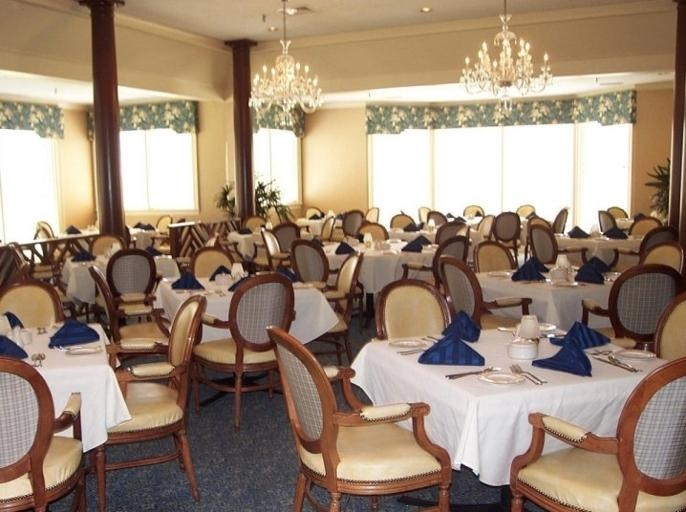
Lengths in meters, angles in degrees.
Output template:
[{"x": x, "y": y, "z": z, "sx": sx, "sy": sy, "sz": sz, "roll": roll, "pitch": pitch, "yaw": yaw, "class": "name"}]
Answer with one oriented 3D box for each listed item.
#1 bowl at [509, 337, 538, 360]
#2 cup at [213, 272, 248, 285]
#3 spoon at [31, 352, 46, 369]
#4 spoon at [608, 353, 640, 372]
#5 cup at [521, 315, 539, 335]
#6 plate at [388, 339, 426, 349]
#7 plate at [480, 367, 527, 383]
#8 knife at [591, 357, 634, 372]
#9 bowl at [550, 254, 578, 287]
[{"x": 1.017, "y": 0.504, "z": 3.128, "sx": 0.108, "sy": 0.082, "sz": 0.115, "roll": 1, "pitch": -1, "yaw": 0, "class": "bowl"}, {"x": -1.088, "y": 0.214, "z": 5.243, "sx": 0.209, "sy": 0.103, "sz": 0.130, "roll": 0, "pitch": 4, "yaw": 0, "class": "cup"}, {"x": -1.744, "y": 0.586, "z": 3.176, "sx": 0.064, "sy": 0.048, "sz": 0.095, "roll": 1, "pitch": 17, "yaw": -19, "class": "spoon"}, {"x": 1.500, "y": 0.560, "z": 2.987, "sx": 0.037, "sy": 0.034, "sz": 0.193, "roll": 15, "pitch": 5, "yaw": -9, "class": "spoon"}, {"x": 1.068, "y": 0.393, "z": 3.232, "sx": 0.100, "sy": 0.110, "sz": 0.103, "roll": -1, "pitch": 3, "yaw": 0, "class": "cup"}, {"x": 0.394, "y": 0.523, "z": 3.402, "sx": 0.229, "sy": 0.018, "sz": 0.180, "roll": -1, "pitch": 8, "yaw": 9, "class": "plate"}, {"x": 0.816, "y": 0.607, "z": 2.831, "sx": 0.205, "sy": 0.020, "sz": 0.240, "roll": 3, "pitch": 10, "yaw": 37, "class": "plate"}, {"x": 1.433, "y": 0.572, "z": 2.959, "sx": 0.251, "sy": 0.039, "sz": 0.044, "roll": 22, "pitch": 0, "yaw": -16, "class": "knife"}, {"x": 2.000, "y": 0.133, "z": 5.109, "sx": 0.292, "sy": 0.311, "sz": 0.299, "roll": 0, "pitch": -1, "yaw": 0, "class": "bowl"}]
